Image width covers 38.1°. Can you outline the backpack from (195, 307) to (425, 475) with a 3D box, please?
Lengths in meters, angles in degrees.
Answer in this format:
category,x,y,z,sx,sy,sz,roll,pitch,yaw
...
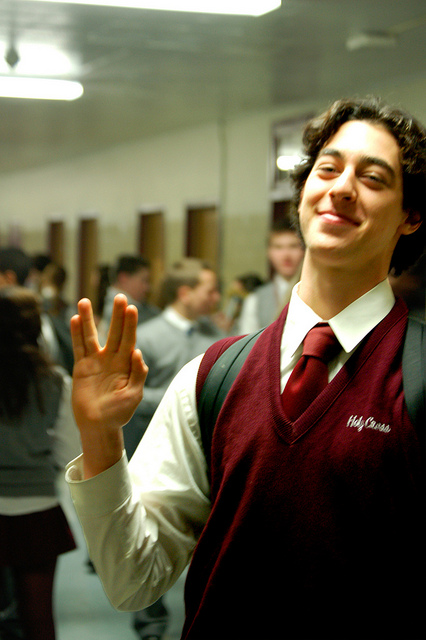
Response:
category,x,y,z,sx,sy,sz,roll,pitch,yaw
backpack,0.137,0.082,0.964,0.355,0.292,0.271,-5,-9,9

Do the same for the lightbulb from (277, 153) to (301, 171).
category,x,y,z,sx,sy,sz,roll,pitch,yaw
lightbulb,0.341,-0.741,2.855,0.090,0.101,0.214,-2,3,5

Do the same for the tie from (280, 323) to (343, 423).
category,x,y,z,sx,sy,sz,roll,pitch,yaw
tie,0.167,0.066,0.940,0.055,0.192,0.052,34,-43,-5

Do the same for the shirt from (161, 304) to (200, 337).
category,x,y,z,sx,sy,sz,roll,pitch,yaw
shirt,-0.163,0.000,2.855,0.161,0.065,0.120,30,9,7
